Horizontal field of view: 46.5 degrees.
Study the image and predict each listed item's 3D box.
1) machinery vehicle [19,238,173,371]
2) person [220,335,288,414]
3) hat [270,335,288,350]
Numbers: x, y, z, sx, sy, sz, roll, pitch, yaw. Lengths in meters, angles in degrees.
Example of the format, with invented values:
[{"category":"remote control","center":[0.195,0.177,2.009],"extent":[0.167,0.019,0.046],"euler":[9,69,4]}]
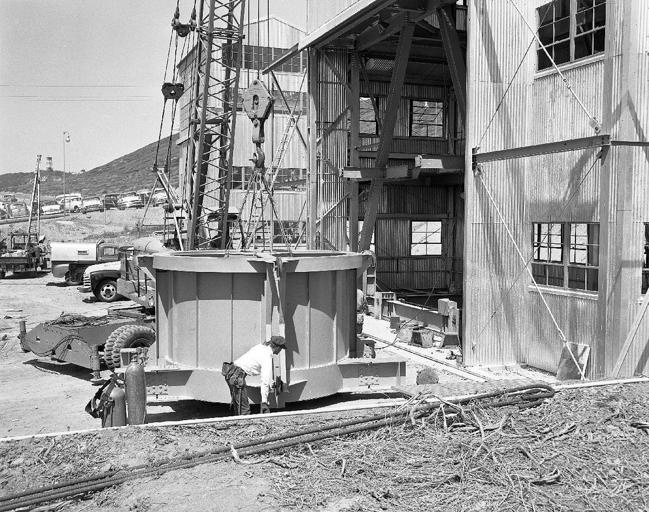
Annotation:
[{"category":"machinery vehicle","center":[-7.787,1.577,25.766],"extent":[3.498,2.580,2.731],"euler":[-6,7,-36]},{"category":"person","center":[-1.475,2.553,15.737],"extent":[1.298,1.682,1.162],"euler":[-2,12,-4]},{"category":"hat","center":[-0.967,1.813,15.752],"extent":[0.200,0.325,0.270],"euler":[0,-3,-44]}]
